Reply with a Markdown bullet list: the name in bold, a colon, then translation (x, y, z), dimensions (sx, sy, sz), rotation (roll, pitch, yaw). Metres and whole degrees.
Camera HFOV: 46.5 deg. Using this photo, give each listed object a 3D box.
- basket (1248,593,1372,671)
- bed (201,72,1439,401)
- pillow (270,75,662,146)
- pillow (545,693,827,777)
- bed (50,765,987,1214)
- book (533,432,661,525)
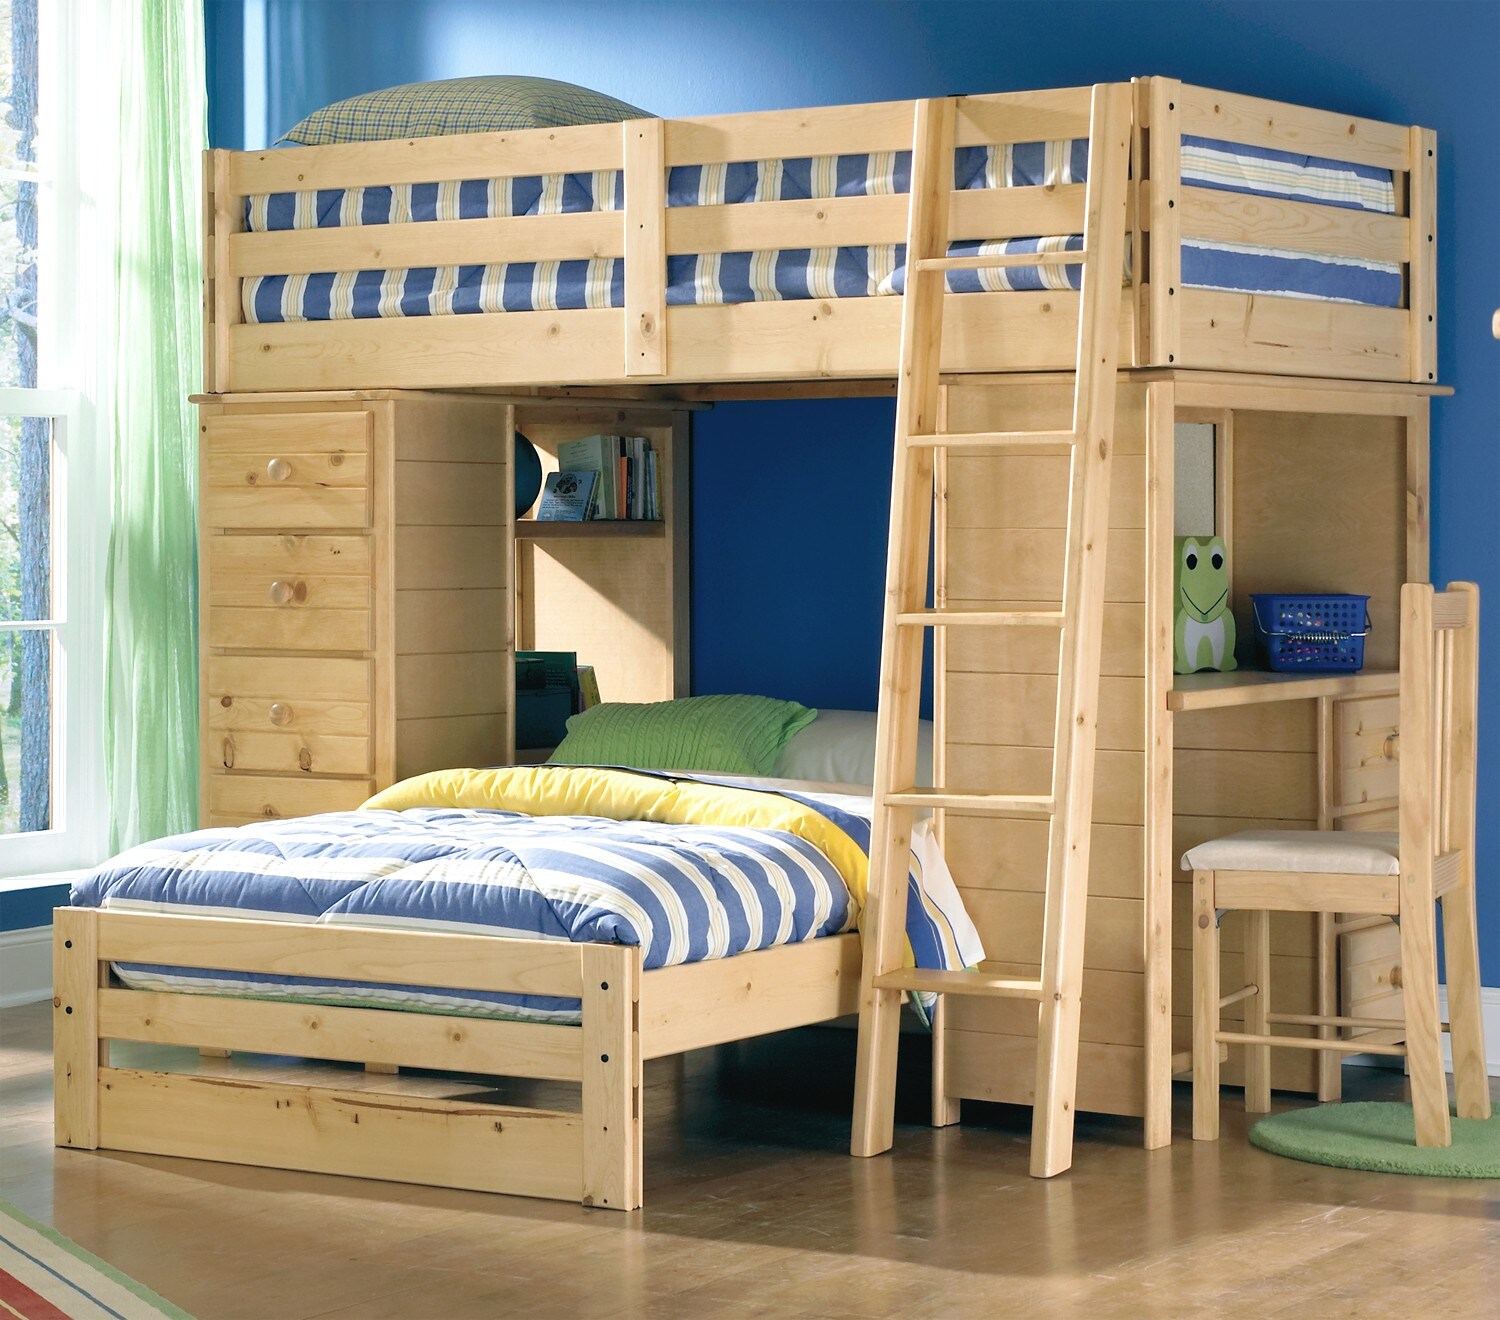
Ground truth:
- **basket**: translation (1.282, -0.075, 4.018), dimensions (0.382, 0.171, 0.198), rotation (1, 4, 2)
- **bed**: translation (0.008, -0.900, 3.919), dimensions (2.599, 0.760, 0.907), rotation (0, -1, 21)
- **pillow**: translation (-0.725, -1.339, 4.290), dimensions (0.568, 0.095, 0.391), rotation (1, 7, 25)
- **pillow**: translation (-0.185, 0.198, 4.590), dimensions (0.461, 0.096, 0.312), rotation (0, 5, 25)
- **bed**: translation (-0.308, 0.483, 3.432), dimensions (1.207, 0.388, 1.072), rotation (0, 1, 30)
- **book**: translation (-0.431, -0.527, 5.114), dimensions (0.375, 0.268, 0.076), rotation (1, 24, 22)
